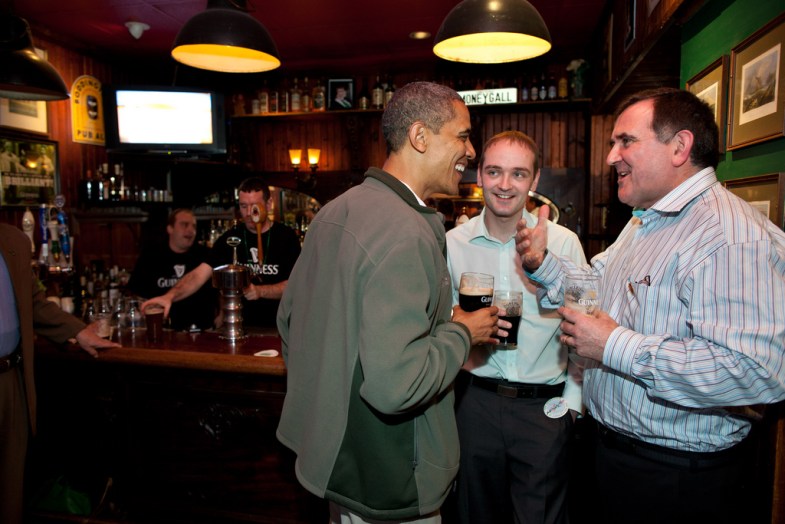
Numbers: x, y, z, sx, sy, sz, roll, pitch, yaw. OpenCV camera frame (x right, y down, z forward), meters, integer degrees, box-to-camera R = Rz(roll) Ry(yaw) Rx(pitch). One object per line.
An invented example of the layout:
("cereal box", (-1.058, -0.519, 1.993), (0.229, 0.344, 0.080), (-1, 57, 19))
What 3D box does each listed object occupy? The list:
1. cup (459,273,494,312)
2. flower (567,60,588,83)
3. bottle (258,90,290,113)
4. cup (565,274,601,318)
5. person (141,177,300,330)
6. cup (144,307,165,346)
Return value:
("cup", (0.449, 0.155, 3.277), (0.192, 0.198, 0.186), (4, -1, 0))
("flower", (2.089, -2.068, 6.970), (0.240, 0.297, 0.205), (10, 23, 24))
("bottle", (-1.480, -1.985, 8.002), (0.350, 0.322, 0.258), (0, -2, 31))
("cup", (0.939, 0.155, 3.074), (0.174, 0.192, 0.177), (2, -3, 0))
("person", (-1.276, 0.188, 5.275), (1.222, 1.640, 0.835), (-2, 13, -5))
("cup", (-1.625, 0.425, 4.329), (0.122, 0.224, 0.168), (-2, 5, -10))
